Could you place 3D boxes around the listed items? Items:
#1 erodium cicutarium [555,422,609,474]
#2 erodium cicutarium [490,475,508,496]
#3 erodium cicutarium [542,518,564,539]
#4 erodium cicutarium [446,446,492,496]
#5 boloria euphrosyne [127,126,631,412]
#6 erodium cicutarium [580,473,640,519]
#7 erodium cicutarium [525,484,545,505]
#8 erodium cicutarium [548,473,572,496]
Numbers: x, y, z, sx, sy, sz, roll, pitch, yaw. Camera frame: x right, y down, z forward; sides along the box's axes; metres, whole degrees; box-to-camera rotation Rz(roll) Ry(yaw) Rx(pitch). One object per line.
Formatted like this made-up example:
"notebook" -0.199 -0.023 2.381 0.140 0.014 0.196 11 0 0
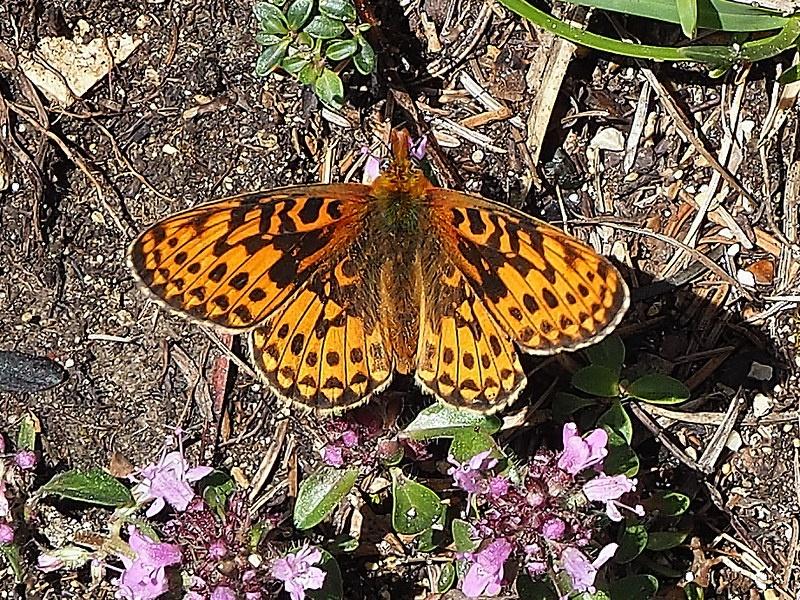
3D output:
"erodium cicutarium" 0.575 0.524 2.829 0.138 0.286 0.129 10 55 7
"erodium cicutarium" 0.310 0.594 2.774 0.064 0.055 0.057 15 55 10
"erodium cicutarium" 0.482 0.715 2.732 0.078 0.066 0.058 -6 54 -5
"erodium cicutarium" 0.224 0.560 2.817 0.135 0.190 0.164 17 67 5
"boloria euphrosyne" -0.063 -0.056 2.672 1.402 0.615 0.575 2 54 1
"erodium cicutarium" 0.666 0.600 2.762 0.161 0.058 0.159 -5 90 16
"erodium cicutarium" 0.425 0.618 2.754 0.062 0.033 0.063 -36 62 -24
"erodium cicutarium" 0.501 0.586 2.774 0.072 0.017 0.072 31 101 7
